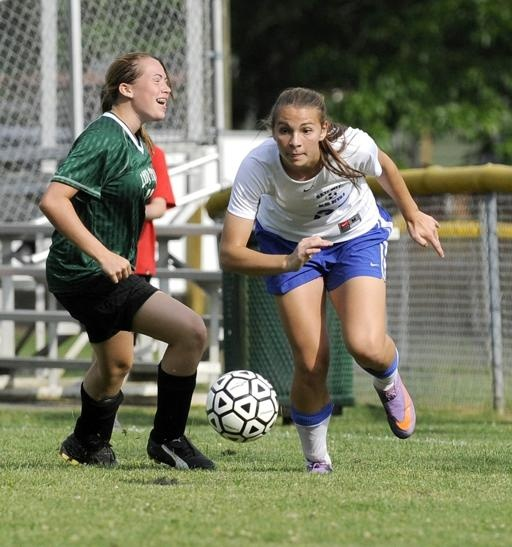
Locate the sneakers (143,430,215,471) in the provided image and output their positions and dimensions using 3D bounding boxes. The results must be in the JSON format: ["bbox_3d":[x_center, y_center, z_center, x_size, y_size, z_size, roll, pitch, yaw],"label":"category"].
[{"bbox_3d":[-0.344,0.782,4.721,0.335,0.144,0.121,10,5,8],"label":"sneakers"}]

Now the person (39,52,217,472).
[{"bbox_3d":[-0.587,-0.029,4.552,0.772,1.873,0.617,-1,6,-24],"label":"person"}]

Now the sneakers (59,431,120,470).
[{"bbox_3d":[-0.763,0.819,4.771,0.277,0.124,0.115,9,35,-10],"label":"sneakers"}]

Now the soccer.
[{"bbox_3d":[-0.050,0.561,4.717,0.325,0.313,0.298,0,-37,4],"label":"soccer"}]

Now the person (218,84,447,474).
[{"bbox_3d":[0.350,0.022,4.682,0.693,1.671,0.964,6,8,38],"label":"person"}]
